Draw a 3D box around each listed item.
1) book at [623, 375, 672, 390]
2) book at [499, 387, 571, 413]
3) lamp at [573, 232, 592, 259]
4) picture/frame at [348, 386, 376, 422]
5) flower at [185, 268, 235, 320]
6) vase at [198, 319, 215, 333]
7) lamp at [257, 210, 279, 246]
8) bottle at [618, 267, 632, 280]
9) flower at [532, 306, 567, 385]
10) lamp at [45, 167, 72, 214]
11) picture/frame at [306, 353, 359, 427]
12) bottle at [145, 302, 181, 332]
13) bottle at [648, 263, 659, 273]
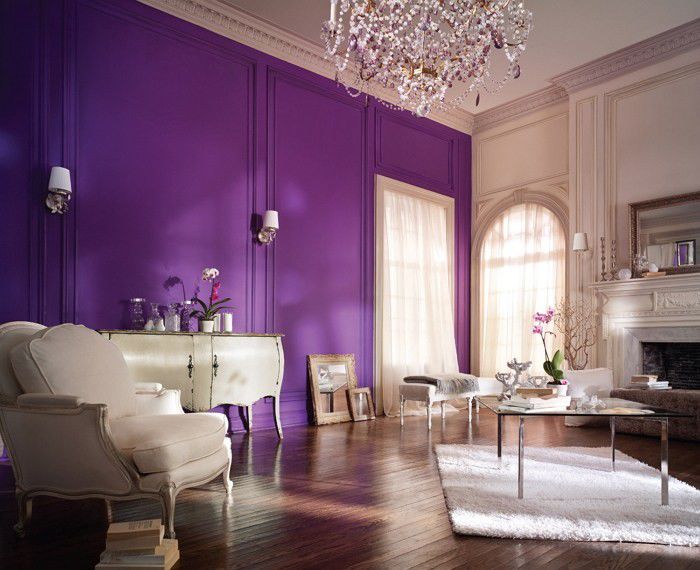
[{"bbox_3d":[2.904,0.946,5.109,0.288,0.150,0.348,-5,-6,37],"label":"book"},{"bbox_3d":[1.248,0.776,3.528,0.232,0.100,0.319,-2,-4,39],"label":"book"},{"bbox_3d":[2.882,-0.519,6.635,0.210,0.338,0.223,-4,-4,32],"label":"lamp"},{"bbox_3d":[0.115,1.393,6.120,0.137,0.362,0.315,-17,-17,38],"label":"picture/frame"},{"bbox_3d":[-1.372,0.089,5.128,0.305,0.524,0.552,-1,-4,3],"label":"flower"},{"bbox_3d":[-1.317,0.380,4.838,0.111,0.092,0.113,1,-7,-12],"label":"vase"},{"bbox_3d":[-0.848,-0.639,5.614,0.266,0.392,0.244,1,-4,-27],"label":"lamp"},{"bbox_3d":[3.230,-0.134,6.200,0.136,0.124,0.124,-3,-5,23],"label":"bottle"},{"bbox_3d":[2.372,0.687,6.376,0.381,0.875,1.582,-3,-5,22],"label":"flower"},{"bbox_3d":[-2.401,-0.775,4.334,0.157,0.353,0.191,2,-5,-39],"label":"lamp"},{"bbox_3d":[-0.229,1.208,5.930,0.054,0.814,0.646,-13,-15,43],"label":"picture/frame"},{"bbox_3d":[-1.693,0.291,4.744,0.227,0.249,0.088,0,-1,15],"label":"bottle"},{"bbox_3d":[3.478,-0.192,6.051,0.080,0.097,0.048,-6,4,-42],"label":"bottle"}]
